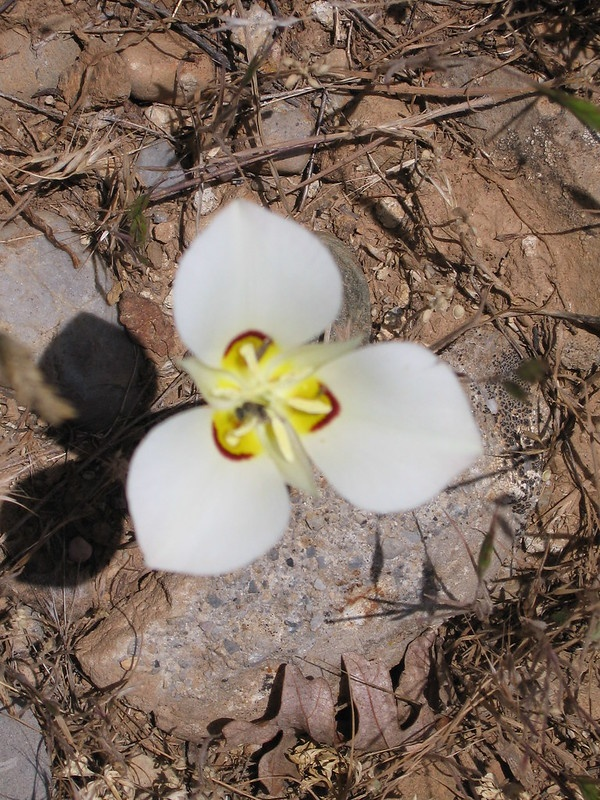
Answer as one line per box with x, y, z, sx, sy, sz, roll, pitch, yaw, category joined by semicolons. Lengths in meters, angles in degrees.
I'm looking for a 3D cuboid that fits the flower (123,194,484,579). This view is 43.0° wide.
-0.091;-0.063;1.687;0.647;0.725;0.176;36;107;0;flower
